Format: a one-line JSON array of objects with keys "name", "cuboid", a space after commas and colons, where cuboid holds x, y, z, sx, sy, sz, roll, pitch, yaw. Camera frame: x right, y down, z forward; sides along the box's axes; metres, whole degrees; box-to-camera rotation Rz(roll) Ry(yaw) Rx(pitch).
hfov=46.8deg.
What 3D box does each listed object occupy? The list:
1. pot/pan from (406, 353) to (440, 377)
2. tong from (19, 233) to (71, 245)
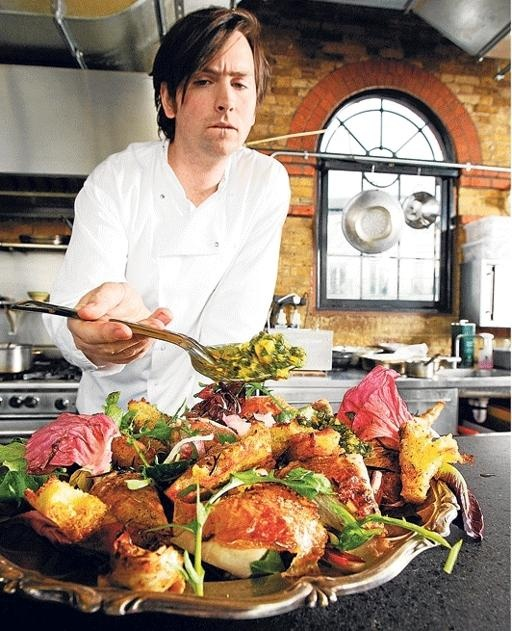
[{"name": "pot/pan", "cuboid": [0.732, 0.224, 2.623, 0.103, 0.083, 0.142, 0, 1, -13]}, {"name": "tong", "cuboid": [-0.970, -0.354, 2.791, 0.147, 0.026, 0.123, 0, -2, -4]}]
